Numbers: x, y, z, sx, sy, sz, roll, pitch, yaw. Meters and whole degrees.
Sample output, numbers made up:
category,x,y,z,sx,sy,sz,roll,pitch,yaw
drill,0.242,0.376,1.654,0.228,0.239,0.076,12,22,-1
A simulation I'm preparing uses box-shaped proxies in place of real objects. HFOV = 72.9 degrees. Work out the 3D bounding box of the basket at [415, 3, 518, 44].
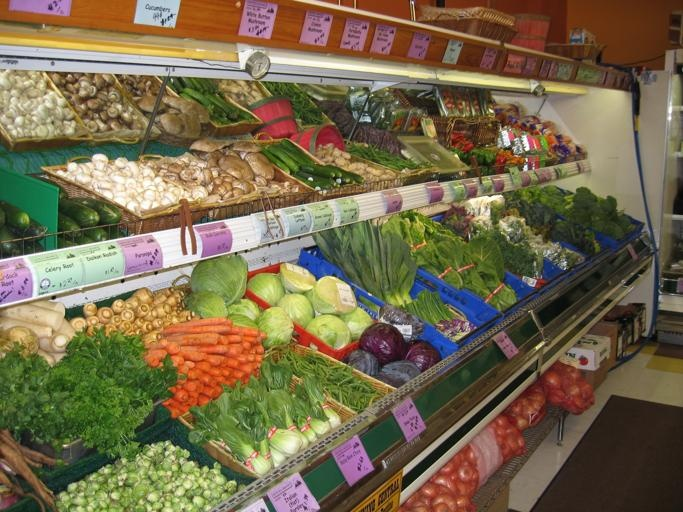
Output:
category,x,y,z,sx,sy,sz,roll,pitch,yaw
basket,0.897,-1.527,3.090,0.417,0.177,0.555,31,32,33

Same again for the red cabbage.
category,x,y,z,sx,sy,sz,roll,pitch,yaw
red cabbage,0.268,0.514,2.429,0.339,0.166,0.345,10,20,43

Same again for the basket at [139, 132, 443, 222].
category,x,y,z,sx,sy,sz,roll,pitch,yaw
basket,-0.296,-0.427,2.533,1.204,0.348,1.433,7,20,41

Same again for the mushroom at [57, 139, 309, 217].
category,x,y,z,sx,sy,sz,roll,pitch,yaw
mushroom,-0.761,-0.367,2.196,0.509,0.136,0.778,30,29,31

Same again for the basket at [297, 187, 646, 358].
category,x,y,z,sx,sy,sz,roll,pitch,yaw
basket,1.189,-0.074,3.650,1.319,0.504,2.500,33,31,32
